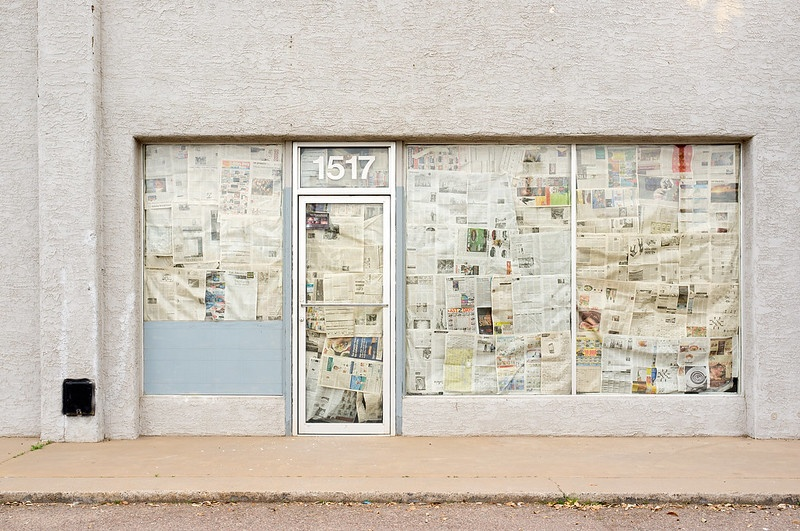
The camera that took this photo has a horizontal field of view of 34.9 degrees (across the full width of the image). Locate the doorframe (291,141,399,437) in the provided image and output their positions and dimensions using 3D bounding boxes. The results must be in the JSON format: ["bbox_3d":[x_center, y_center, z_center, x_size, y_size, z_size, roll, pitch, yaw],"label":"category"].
[{"bbox_3d":[-0.781,0.327,18.148,1.400,4.103,0.227,1,0,-4],"label":"doorframe"}]

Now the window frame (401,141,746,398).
[{"bbox_3d":[2.321,0.175,18.206,5.033,2.655,0.189,0,-2,1],"label":"window frame"}]

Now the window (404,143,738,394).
[{"bbox_3d":[2.454,0.143,18.392,6.330,3.529,0.222,1,-3,-35],"label":"window"}]
